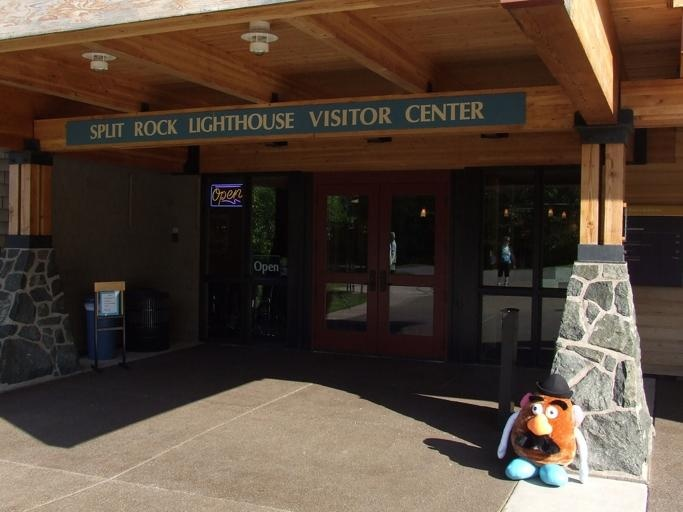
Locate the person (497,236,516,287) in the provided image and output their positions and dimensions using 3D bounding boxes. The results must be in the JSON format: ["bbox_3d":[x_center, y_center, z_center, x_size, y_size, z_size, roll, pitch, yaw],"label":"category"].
[{"bbox_3d":[2.534,0.082,8.332,0.251,0.749,0.078,2,4,22],"label":"person"}]

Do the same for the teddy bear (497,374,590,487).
[{"bbox_3d":[1.814,1.539,4.816,0.715,0.938,0.550,3,-11,30],"label":"teddy bear"}]

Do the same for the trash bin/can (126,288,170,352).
[{"bbox_3d":[-3.492,1.064,9.463,0.963,1.031,0.948,2,-4,-37],"label":"trash bin/can"}]

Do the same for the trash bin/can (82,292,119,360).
[{"bbox_3d":[-3.887,1.127,8.715,0.532,1.008,0.687,-1,4,-23],"label":"trash bin/can"}]
